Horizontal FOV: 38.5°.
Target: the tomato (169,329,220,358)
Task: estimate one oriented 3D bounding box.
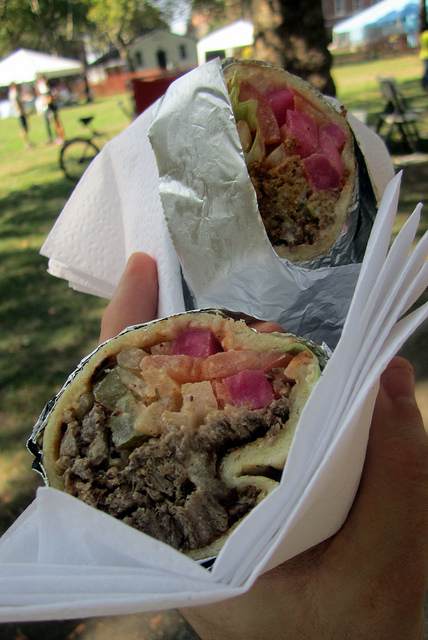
[{"bbox_3d":[-0.033,0.040,1.006,0.070,0.045,0.034,11,14,17],"label":"tomato"}]

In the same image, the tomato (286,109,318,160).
[{"bbox_3d":[0.172,-0.367,1.201,0.057,0.087,0.103,-5,27,11],"label":"tomato"}]

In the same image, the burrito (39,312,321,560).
[{"bbox_3d":[-0.049,0.143,0.995,0.406,0.156,0.328,-34,55,-12],"label":"burrito"}]
